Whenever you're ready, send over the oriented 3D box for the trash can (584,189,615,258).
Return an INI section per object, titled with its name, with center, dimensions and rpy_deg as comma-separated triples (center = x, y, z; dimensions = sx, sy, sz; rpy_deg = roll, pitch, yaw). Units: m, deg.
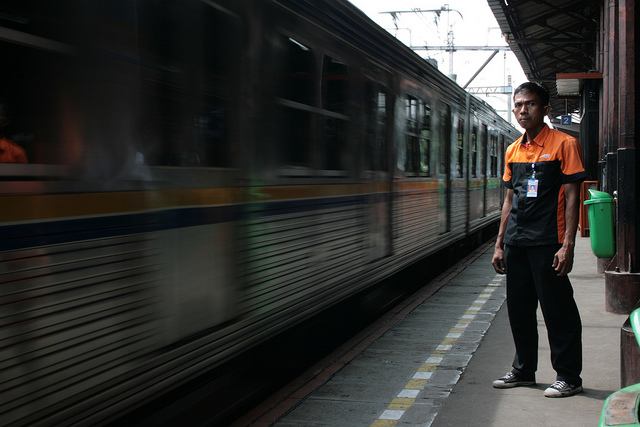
[trash can]
center = 4.035, 0.156, 6.063
dimensions = 0.328, 0.894, 0.546
rpy_deg = -3, 0, 33
